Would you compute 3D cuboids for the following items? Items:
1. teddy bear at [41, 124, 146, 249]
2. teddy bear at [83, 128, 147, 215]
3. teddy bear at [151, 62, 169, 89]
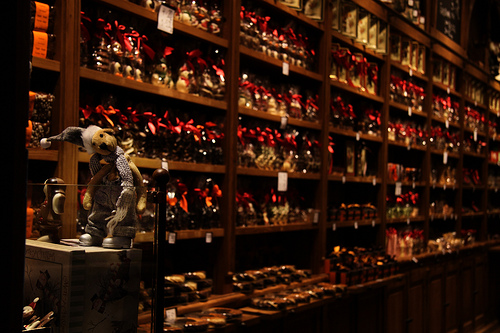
[{"bbox_3d":[-0.570,0.070,1.664,0.248,0.459,0.317,7,-7,-42],"label":"teddy bear"},{"bbox_3d":[-0.530,0.013,1.675,0.238,0.335,0.270,5,-6,-27],"label":"teddy bear"},{"bbox_3d":[-0.547,-0.557,2.623,0.106,0.151,0.043,3,-6,-13],"label":"teddy bear"}]
